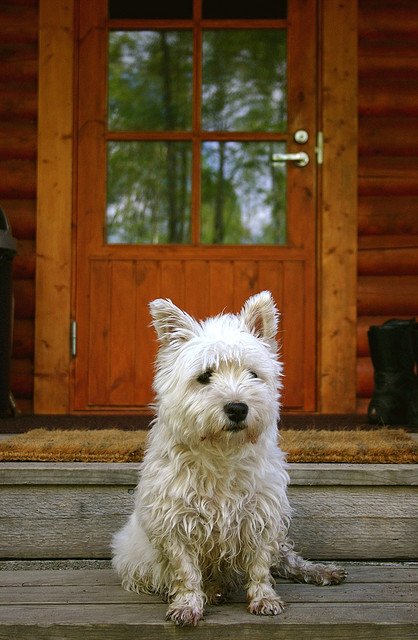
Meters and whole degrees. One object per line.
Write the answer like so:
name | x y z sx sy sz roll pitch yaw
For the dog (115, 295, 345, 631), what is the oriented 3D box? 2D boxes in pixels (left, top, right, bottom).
dog | 0.044 0.451 4.127 0.726 1.068 0.907 -1 6 -8
